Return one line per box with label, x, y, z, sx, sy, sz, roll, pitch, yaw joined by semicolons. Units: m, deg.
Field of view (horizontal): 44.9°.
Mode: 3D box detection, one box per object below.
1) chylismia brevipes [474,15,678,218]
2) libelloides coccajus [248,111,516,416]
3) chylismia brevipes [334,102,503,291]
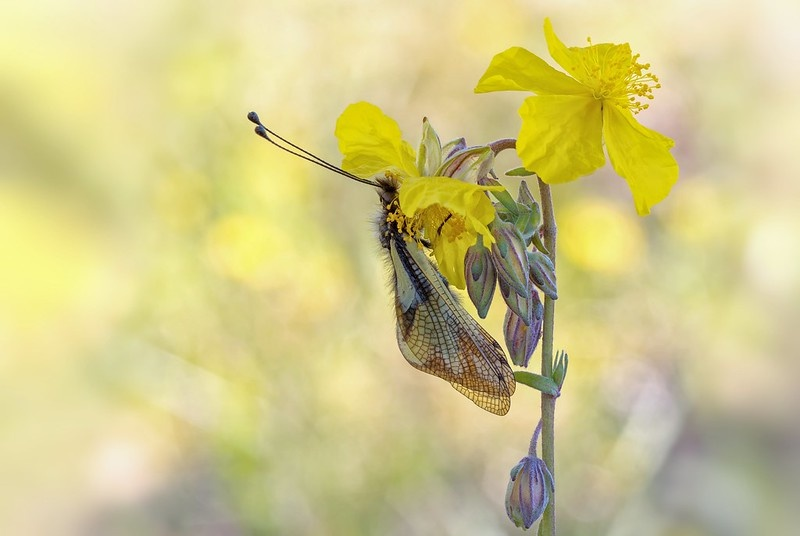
chylismia brevipes;0.659;-0.564;3.608;0.724;0.722;0.148;1;-18;-13
libelloides coccajus;-0.008;0.163;3.862;0.825;1.553;0.707;-19;19;-36
chylismia brevipes;0.056;-0.308;3.677;0.318;0.678;0.658;-24;-42;-16
